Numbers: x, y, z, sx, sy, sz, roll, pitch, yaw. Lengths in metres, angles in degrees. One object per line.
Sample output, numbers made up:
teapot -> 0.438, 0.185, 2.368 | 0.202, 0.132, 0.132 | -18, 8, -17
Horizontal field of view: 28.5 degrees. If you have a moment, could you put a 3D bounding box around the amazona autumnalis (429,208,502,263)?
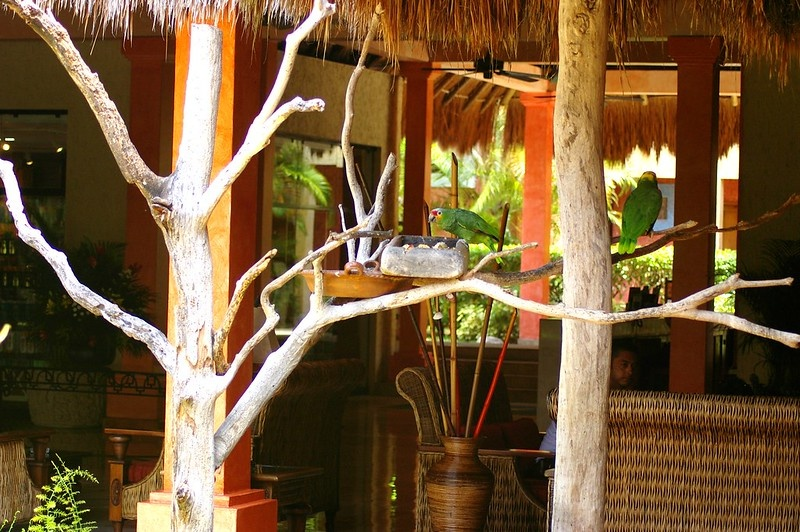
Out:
amazona autumnalis -> 0.517, -0.268, 11.794 | 0.530, 0.383, 0.230 | 0, 3, -18

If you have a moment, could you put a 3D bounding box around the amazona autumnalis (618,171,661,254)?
amazona autumnalis -> 1.772, -0.399, 11.625 | 0.281, 0.722, 0.394 | 3, 11, 5
